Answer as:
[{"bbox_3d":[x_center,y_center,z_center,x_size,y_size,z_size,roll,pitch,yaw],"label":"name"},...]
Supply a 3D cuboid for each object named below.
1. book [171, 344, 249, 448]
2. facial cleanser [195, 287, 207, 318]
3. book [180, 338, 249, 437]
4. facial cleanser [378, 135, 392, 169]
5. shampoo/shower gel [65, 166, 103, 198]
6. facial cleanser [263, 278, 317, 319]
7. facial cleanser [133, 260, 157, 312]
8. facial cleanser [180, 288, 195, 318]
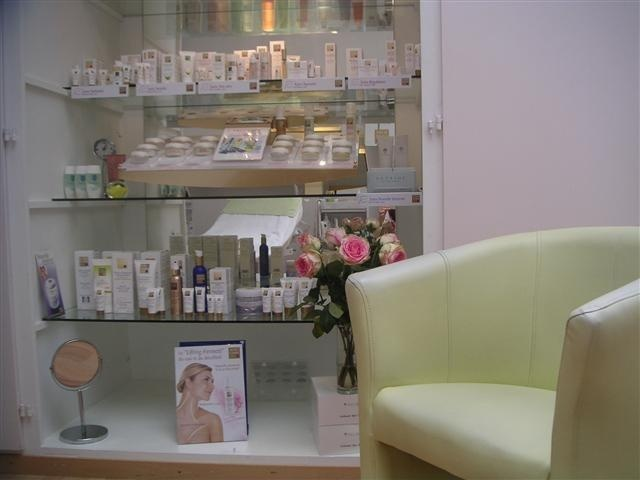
[{"bbox_3d":[-0.489,0.680,2.563,0.291,0.464,0.233,0,7,-6],"label":"book"},{"bbox_3d":[-0.559,0.284,2.720,0.053,0.127,0.036,-3,4,-18],"label":"facial cleanser"},{"bbox_3d":[-0.480,0.665,2.564,0.379,0.537,0.066,-1,-2,-2],"label":"book"},{"bbox_3d":[0.289,-0.385,2.553,0.065,0.132,0.037,-1,4,8],"label":"facial cleanser"},{"bbox_3d":[-1.143,-0.279,2.780,0.131,0.129,0.078,1,10,-1],"label":"shampoo/shower gel"},{"bbox_3d":[-0.164,0.261,2.698,0.183,0.265,0.213,-2,-5,42],"label":"facial cleanser"},{"bbox_3d":[-0.839,0.208,2.753,0.127,0.236,0.065,1,5,34],"label":"facial cleanser"},{"bbox_3d":[-0.614,0.287,2.712,0.056,0.121,0.038,-4,5,-28],"label":"facial cleanser"}]
